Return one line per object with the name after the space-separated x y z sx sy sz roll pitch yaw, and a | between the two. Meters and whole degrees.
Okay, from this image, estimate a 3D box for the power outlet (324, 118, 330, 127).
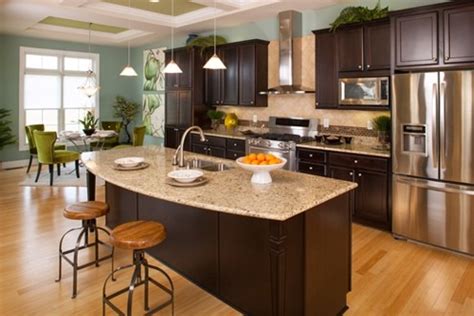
1.673 -0.659 5.953 0.029 0.165 0.128 -13 20 -39 | power outlet

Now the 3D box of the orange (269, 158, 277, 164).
0.397 0.030 3.382 0.102 0.051 0.095 -2 15 -8 | orange

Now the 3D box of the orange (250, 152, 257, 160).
0.203 -0.024 3.517 0.081 0.076 0.072 2 21 -11 | orange

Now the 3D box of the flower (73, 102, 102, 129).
-4.280 -1.237 9.116 0.926 0.838 0.849 6 9 33 | flower

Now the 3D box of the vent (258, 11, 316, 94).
0.992 -1.968 5.979 0.719 1.497 0.601 2 15 6 | vent

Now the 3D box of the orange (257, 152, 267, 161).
0.278 -0.010 3.479 0.091 0.083 0.084 -7 8 3 | orange

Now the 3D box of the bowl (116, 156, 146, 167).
-1.339 0.037 4.093 0.195 0.044 0.200 -2 15 0 | bowl

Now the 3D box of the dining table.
-3.301 -0.323 7.742 1.574 0.834 1.554 -3 9 -29 | dining table

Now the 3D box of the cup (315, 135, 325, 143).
1.483 -0.341 5.692 0.132 0.091 0.130 -1 3 0 | cup

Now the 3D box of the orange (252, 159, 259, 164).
0.206 0.043 3.407 0.055 0.051 0.053 10 -26 -23 | orange

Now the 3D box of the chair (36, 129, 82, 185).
-3.992 -0.087 7.155 0.813 1.152 0.841 12 19 37 | chair

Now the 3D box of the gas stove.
0.901 -0.476 6.100 1.142 0.600 0.846 12 18 36 | gas stove

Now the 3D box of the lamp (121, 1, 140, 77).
-2.602 -2.710 7.789 0.407 1.418 5.018 -5 15 -17 | lamp

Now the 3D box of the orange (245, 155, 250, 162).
0.127 0.017 3.499 0.067 0.036 0.064 -16 41 41 | orange

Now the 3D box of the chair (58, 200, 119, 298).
-1.852 1.186 4.047 0.771 1.147 0.751 -8 18 -35 | chair

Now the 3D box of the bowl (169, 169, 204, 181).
-0.544 0.182 3.545 0.206 0.045 0.201 0 11 0 | bowl

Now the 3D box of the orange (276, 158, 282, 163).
0.447 0.030 3.388 0.058 0.048 0.048 6 -20 -10 | orange

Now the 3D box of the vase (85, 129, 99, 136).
-3.305 -0.604 7.333 0.246 0.142 0.406 -6 16 -24 | vase

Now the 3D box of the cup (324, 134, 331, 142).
1.588 -0.342 5.567 0.124 0.093 0.117 -1 7 0 | cup

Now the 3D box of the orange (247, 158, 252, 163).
0.143 0.031 3.458 0.048 0.049 0.056 15 -26 -11 | orange

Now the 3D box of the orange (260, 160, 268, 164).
0.296 0.043 3.401 0.090 0.031 0.072 -3 15 -13 | orange

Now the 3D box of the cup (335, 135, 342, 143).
1.770 -0.328 5.552 0.136 0.095 0.132 -1 9 0 | cup

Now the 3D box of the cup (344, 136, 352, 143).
1.925 -0.311 5.515 0.125 0.094 0.116 -1 8 0 | cup

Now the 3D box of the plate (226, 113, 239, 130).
-0.087 -0.818 7.214 0.263 0.382 0.230 0 15 0 | plate

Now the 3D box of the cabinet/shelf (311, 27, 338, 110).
1.556 -1.528 5.517 0.151 1.315 0.573 -11 19 -36 | cabinet/shelf

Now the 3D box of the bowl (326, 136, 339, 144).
1.662 -0.317 5.517 0.233 0.121 0.118 3 15 10 | bowl
